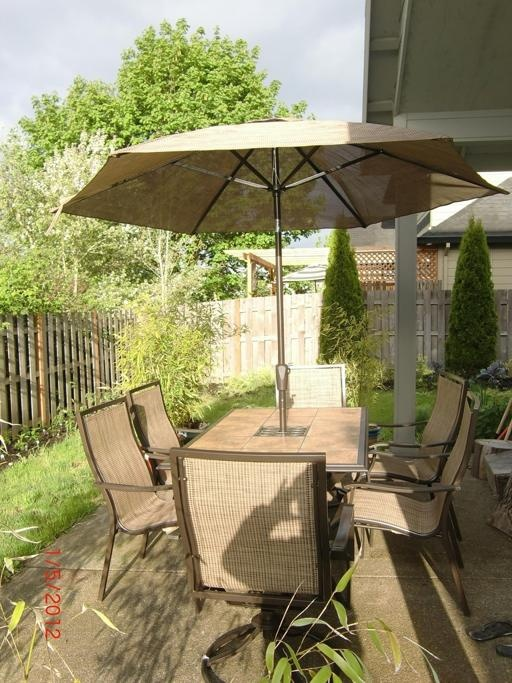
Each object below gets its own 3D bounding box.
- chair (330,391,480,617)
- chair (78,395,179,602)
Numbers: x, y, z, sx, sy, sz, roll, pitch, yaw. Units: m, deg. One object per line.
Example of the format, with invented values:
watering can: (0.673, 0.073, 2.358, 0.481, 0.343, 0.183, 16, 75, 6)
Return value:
chair: (0.750, 0.686, 2.886, 0.805, 1.245, 0.854, 0, 0, 12)
chair: (-0.441, 0.725, 2.688, 0.564, 0.827, 0.583, -2, 6, 10)
